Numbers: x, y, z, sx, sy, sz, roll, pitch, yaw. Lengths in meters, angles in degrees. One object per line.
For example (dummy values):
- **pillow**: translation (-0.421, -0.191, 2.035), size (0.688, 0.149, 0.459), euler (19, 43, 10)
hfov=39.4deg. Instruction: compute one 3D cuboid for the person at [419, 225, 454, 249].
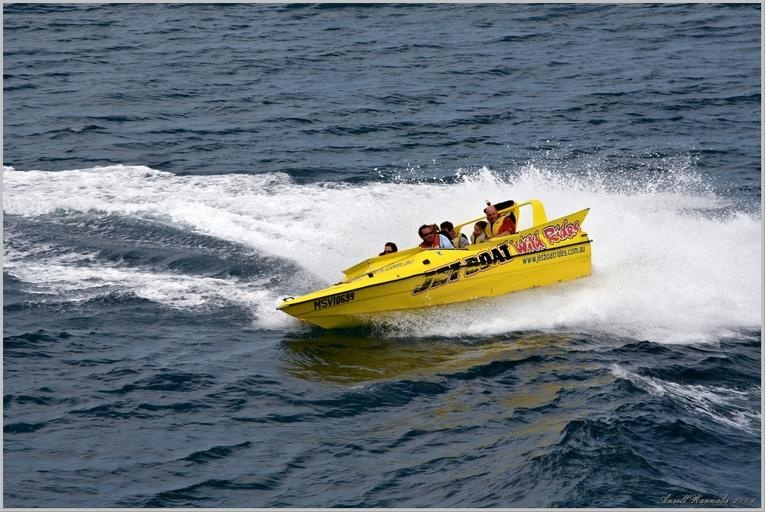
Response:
- **person**: translation (1.468, -0.518, 31.146), size (1.286, 0.625, 0.373), euler (-10, 1, 2)
